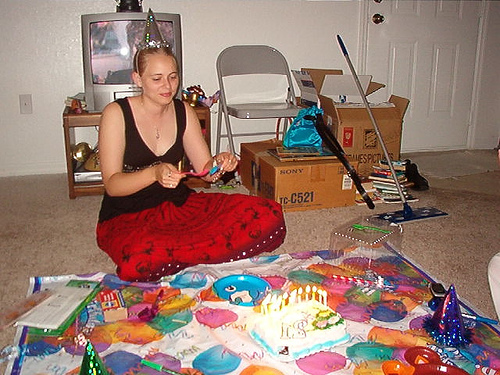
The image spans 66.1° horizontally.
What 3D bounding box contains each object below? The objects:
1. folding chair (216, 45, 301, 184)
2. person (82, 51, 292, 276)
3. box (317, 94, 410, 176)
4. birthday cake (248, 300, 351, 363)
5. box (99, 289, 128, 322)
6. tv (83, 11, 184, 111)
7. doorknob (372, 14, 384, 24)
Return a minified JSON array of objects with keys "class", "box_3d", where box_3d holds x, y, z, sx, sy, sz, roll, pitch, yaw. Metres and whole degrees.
[{"class":"folding chair","box_3d":[0.083,-0.584,3.144,0.638,1.071,0.602,-7,22,-19]},{"class":"person","box_3d":[-0.310,-0.166,1.858,0.966,0.918,0.840,-7,20,-21]},{"class":"box","box_3d":[0.825,-0.381,2.853,0.587,0.616,0.344,-4,27,-6]},{"class":"birthday cake","box_3d":[0.166,0.478,1.313,0.322,0.060,0.204,-9,20,-18]},{"class":"box","box_3d":[-0.521,0.431,1.457,0.091,0.036,0.213,-11,21,-24]},{"class":"tv","box_3d":[-0.844,-0.913,2.877,0.723,0.638,0.400,-3,9,-11]},{"class":"doorknob","box_3d":[1.181,-1.535,3.514,0.117,0.083,0.034,-9,20,-19]}]
